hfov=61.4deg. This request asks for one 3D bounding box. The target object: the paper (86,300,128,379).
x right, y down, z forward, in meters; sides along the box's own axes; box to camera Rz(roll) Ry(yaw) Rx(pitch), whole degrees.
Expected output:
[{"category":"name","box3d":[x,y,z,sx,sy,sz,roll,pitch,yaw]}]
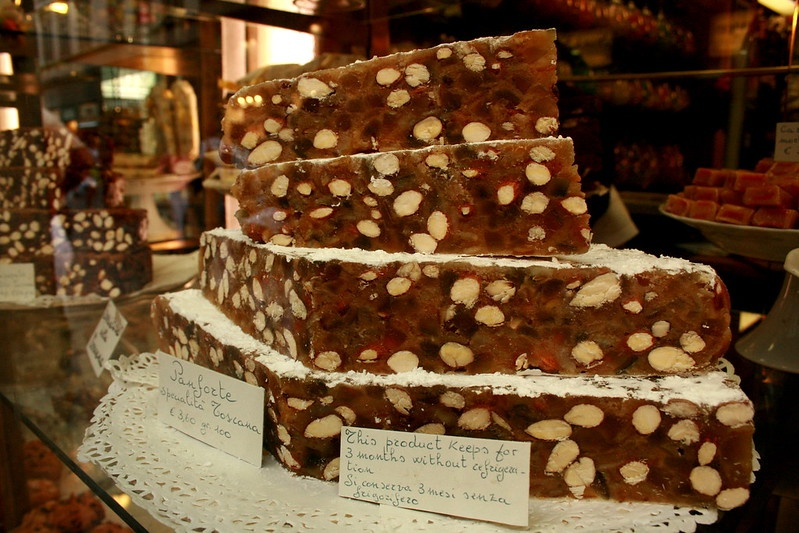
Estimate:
[{"category":"paper","box3d":[-1.021,0.255,2.340,0.082,0.208,0.218,7,24,-40]}]

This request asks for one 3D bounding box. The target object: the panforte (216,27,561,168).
[{"category":"panforte","box3d":[-0.028,-0.417,1.984,0.773,0.178,0.438,-7,11,8]}]
